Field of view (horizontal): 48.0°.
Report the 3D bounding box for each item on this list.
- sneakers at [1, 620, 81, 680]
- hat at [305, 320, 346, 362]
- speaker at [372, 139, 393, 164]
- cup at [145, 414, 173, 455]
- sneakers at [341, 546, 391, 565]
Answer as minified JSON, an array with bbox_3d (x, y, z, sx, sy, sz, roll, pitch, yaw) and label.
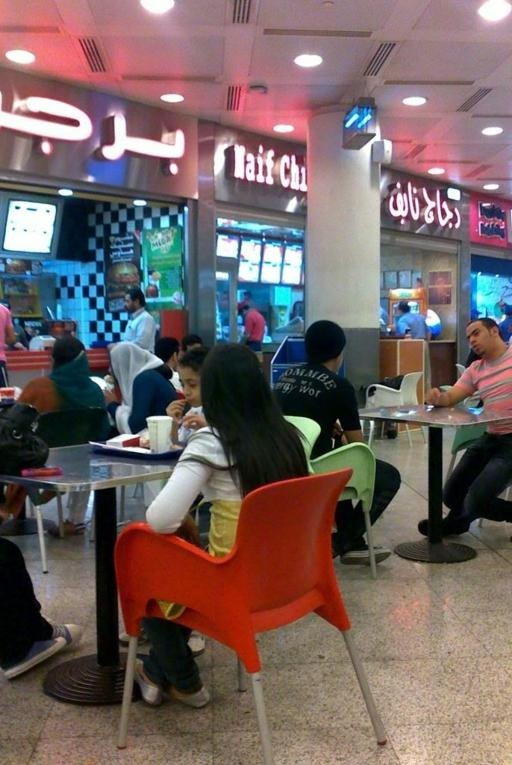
[{"bbox_3d":[-0.690,0.870,1.914,0.087,0.106,0.264,-2,13,40],"label":"sneakers"},{"bbox_3d":[0.346,-0.230,2.854,0.156,0.188,0.219,3,30,11],"label":"hat"},{"bbox_3d":[1.514,-2.730,6.736,0.225,0.236,0.274,1,-2,-27],"label":"speaker"},{"bbox_3d":[-0.320,0.177,1.980,0.105,0.125,0.108,3,6,0],"label":"cup"},{"bbox_3d":[0.531,0.852,2.917,0.281,0.115,0.098,-5,-11,0],"label":"sneakers"}]
